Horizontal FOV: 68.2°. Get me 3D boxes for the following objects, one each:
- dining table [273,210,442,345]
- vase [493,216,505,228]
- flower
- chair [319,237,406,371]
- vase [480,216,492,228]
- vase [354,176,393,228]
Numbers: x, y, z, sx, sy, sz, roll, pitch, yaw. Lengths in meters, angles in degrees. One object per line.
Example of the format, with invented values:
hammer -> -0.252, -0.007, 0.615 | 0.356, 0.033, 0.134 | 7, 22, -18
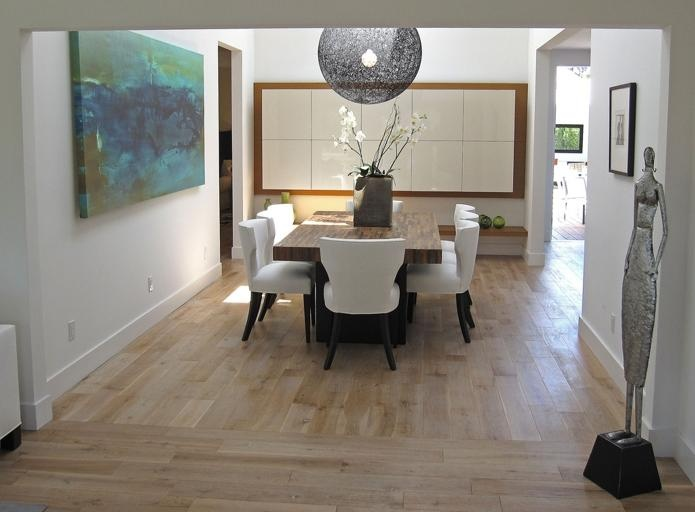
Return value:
dining table -> 0.098, 0.076, 4.475 | 0.998, 0.805, 1.633 | 1, 11, 5
vase -> 2.217, -0.493, 7.560 | 0.222, 0.177, 0.192 | 0, 13, -1
flower -> 0.400, -1.513, 7.354 | 1.030, 1.135, 1.115 | 7, 11, 37
chair -> 0.102, 0.297, 4.027 | 0.626, 1.060, 0.699 | 3, 16, 12
vase -> 2.000, -0.475, 7.481 | 0.146, 0.163, 0.195 | 7, 61, 17
vase -> 0.230, -0.499, 4.697 | 0.411, 0.641, 0.429 | 0, 9, 0
